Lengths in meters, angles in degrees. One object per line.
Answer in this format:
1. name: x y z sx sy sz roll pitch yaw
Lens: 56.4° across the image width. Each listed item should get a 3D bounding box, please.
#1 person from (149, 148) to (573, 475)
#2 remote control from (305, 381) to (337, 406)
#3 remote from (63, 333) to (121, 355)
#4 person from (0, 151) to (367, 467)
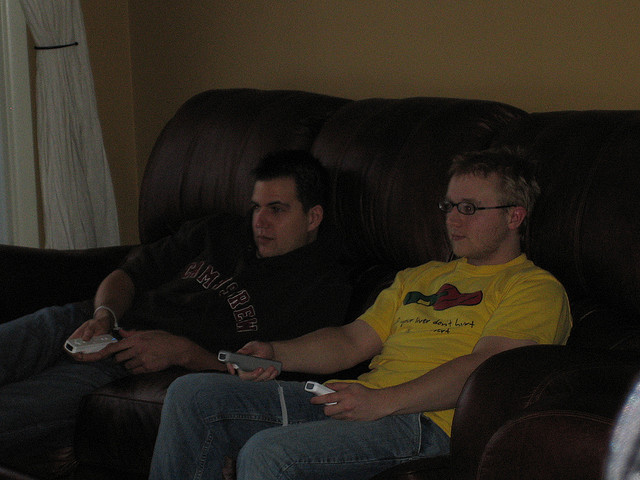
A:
1. person: 0.124 0.334 2.145 1.228 1.466 0.684 14 -9 -17
2. remote control: -0.007 0.368 1.445 0.109 0.030 0.025 18 -1 -21
3. remote: -0.693 0.293 1.777 0.131 0.032 0.069 -4 16 -36
4. person: -0.423 0.209 2.062 1.272 0.725 0.748 5 21 -17
